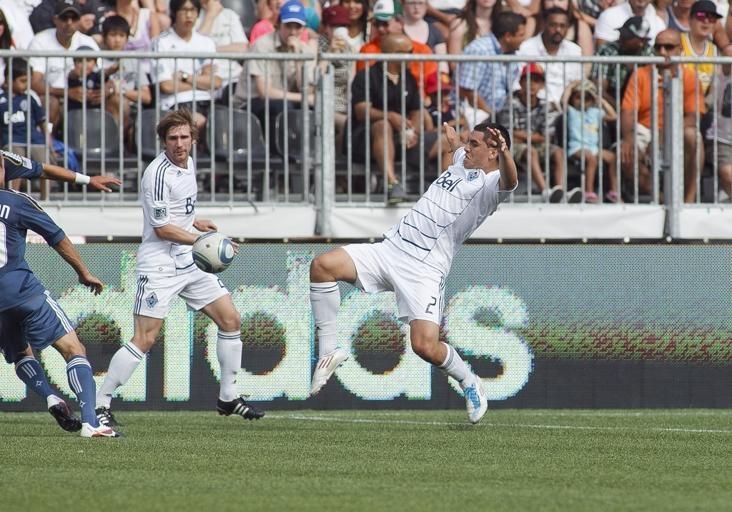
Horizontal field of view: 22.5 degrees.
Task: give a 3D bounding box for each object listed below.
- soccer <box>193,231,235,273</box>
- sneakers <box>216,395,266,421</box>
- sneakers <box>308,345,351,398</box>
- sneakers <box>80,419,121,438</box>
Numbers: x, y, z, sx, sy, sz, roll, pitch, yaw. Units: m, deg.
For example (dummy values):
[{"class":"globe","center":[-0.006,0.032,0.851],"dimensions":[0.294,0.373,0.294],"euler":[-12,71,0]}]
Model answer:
[{"class":"soccer","center":[-1.444,-0.067,17.578],"dimensions":[0.406,0.373,0.212],"euler":[-1,9,-5]},{"class":"sneakers","center":[-1.249,1.421,18.096],"dimensions":[0.542,0.269,0.191],"euler":[4,-2,-6]},{"class":"sneakers","center":[-0.358,1.010,17.885],"dimensions":[0.263,0.583,0.211],"euler":[33,11,-14]},{"class":"sneakers","center":[-2.491,1.555,17.280],"dimensions":[0.375,0.167,0.127],"euler":[0,0,-13]}]
